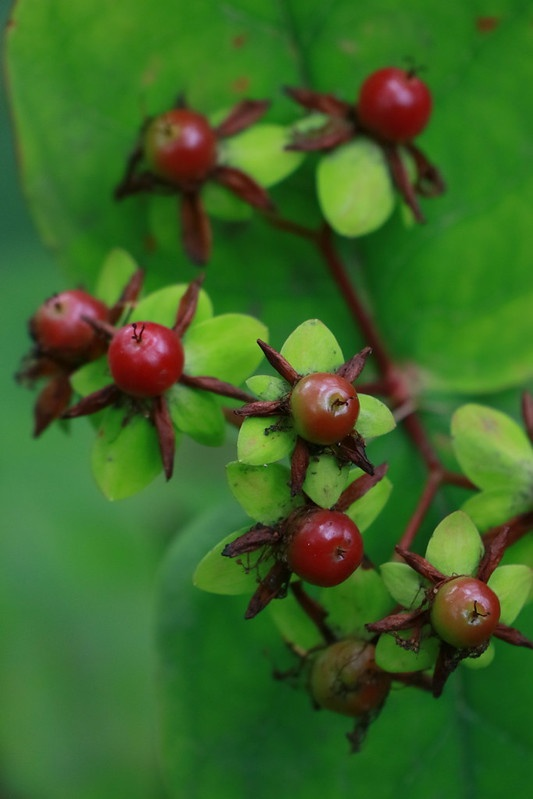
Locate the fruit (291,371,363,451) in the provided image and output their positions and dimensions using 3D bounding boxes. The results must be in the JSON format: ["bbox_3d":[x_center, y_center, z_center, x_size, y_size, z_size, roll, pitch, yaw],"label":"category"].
[{"bbox_3d":[0.053,0.008,0.726,0.063,0.049,0.059,3,57,-1],"label":"fruit"}]

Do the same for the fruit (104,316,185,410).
[{"bbox_3d":[-0.123,-0.039,0.790,0.072,0.068,0.080,-12,82,33],"label":"fruit"}]

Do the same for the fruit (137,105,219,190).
[{"bbox_3d":[-0.097,-0.282,0.864,0.090,0.060,0.079,-18,83,-1],"label":"fruit"}]

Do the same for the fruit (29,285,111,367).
[{"bbox_3d":[-0.224,-0.074,0.889,0.114,0.085,0.080,-1,83,31],"label":"fruit"}]

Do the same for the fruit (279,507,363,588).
[{"bbox_3d":[0.055,0.141,0.745,0.073,0.060,0.064,4,57,0],"label":"fruit"}]

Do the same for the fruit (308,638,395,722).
[{"bbox_3d":[0.088,0.296,0.821,0.072,0.079,0.077,-25,62,-17],"label":"fruit"}]
